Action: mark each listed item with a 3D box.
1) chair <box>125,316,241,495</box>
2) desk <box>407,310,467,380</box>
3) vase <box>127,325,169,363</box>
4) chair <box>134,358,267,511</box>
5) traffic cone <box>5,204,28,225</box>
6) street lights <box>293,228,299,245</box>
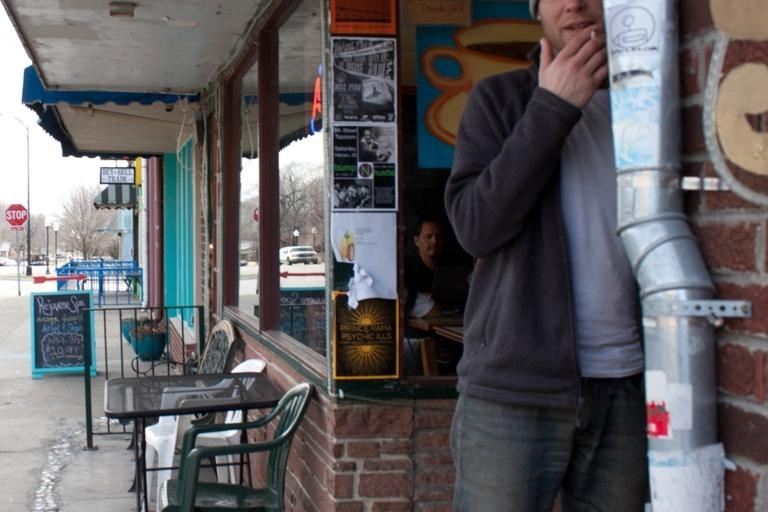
[{"bbox_3d":[-1.569,1.272,5.938,0.927,1.268,0.720,-10,3,-29],"label":"chair"},{"bbox_3d":[0.311,0.497,4.265,0.245,0.378,0.236,2,-8,-5],"label":"desk"},{"bbox_3d":[-3.213,1.217,10.374,0.505,0.403,0.532,-3,10,-4],"label":"vase"},{"bbox_3d":[-1.195,1.266,5.626,1.062,1.378,0.910,8,-9,-22],"label":"chair"},{"bbox_3d":[-13.477,-1.498,27.745,0.724,0.797,1.267,-1,-2,-26],"label":"traffic cone"},{"bbox_3d":[-0.560,-0.118,4.806,0.006,0.101,0.104,-1,-2,-26],"label":"street lights"}]
